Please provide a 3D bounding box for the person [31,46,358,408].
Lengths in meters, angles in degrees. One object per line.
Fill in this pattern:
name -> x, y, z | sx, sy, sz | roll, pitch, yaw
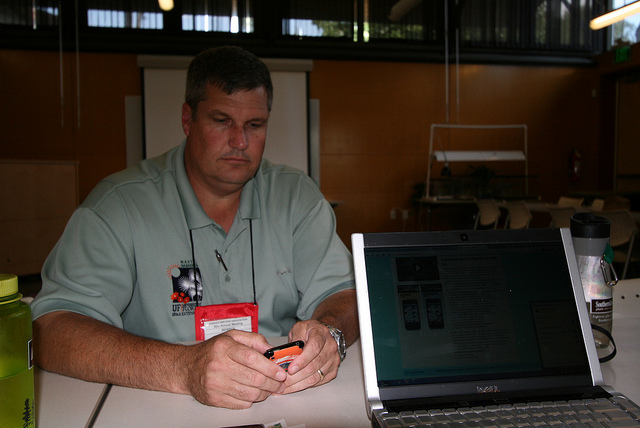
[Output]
person -> -0.426, -0.062, 1.790 | 1.130, 1.173, 0.858 | 0, 6, -2

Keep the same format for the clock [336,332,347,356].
clock -> 0.069, 0.425, 1.617 | 0.023, 0.067, 0.044 | -1, 18, -10

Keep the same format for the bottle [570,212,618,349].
bottle -> 0.897, 0.218, 1.629 | 0.141, 0.438, 0.339 | 4, 6, 32
